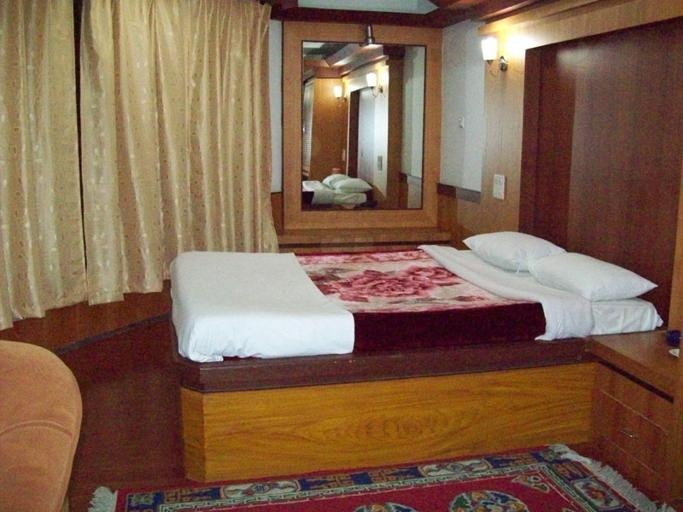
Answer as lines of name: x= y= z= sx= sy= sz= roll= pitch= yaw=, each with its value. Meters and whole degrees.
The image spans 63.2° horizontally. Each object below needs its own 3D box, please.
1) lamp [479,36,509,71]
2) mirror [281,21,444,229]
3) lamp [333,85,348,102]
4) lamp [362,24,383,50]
lamp: x=1.160 y=-1.571 z=4.279 sx=0.136 sy=0.295 sz=0.360 roll=0 pitch=13 yaw=-9
mirror: x=0.171 y=-1.368 z=5.427 sx=2.193 sy=2.433 sz=0.060 roll=0 pitch=4 yaw=-10
lamp: x=-0.008 y=-1.595 z=5.425 sx=0.150 sy=0.197 sz=0.116 roll=-2 pitch=9 yaw=-22
lamp: x=0.276 y=-2.080 z=5.246 sx=0.162 sy=0.212 sz=0.229 roll=6 pitch=14 yaw=17
